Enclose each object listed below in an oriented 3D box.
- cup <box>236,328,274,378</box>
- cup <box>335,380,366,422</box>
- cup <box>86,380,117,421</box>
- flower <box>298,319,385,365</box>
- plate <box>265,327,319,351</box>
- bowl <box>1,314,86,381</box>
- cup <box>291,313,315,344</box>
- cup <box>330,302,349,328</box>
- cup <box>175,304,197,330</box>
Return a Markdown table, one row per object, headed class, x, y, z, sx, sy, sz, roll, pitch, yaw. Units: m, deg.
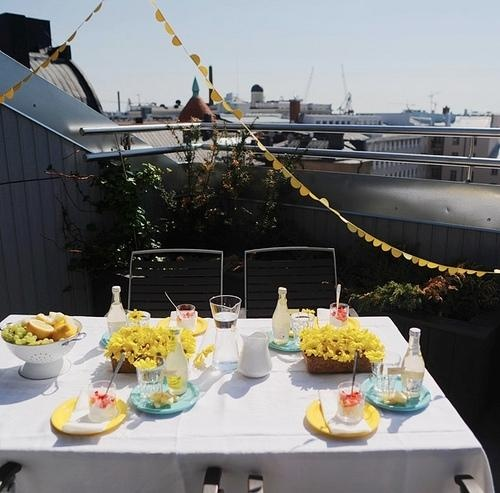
| class | x | y | z | sx | sy | sz | roll | pitch | yaw |
| --- | --- | --- | --- | --- | --- | --- | --- | --- | --- |
| cup | 0.017 | 0.333 | 1.417 | 0.122 | 0.130 | 0.136 | 2 | 7 | 12 |
| cup | 0.247 | 0.401 | 1.166 | 0.094 | 0.082 | 0.080 | 1 | 2 | 1 |
| cup | -0.374 | 0.394 | 1.133 | 0.090 | 0.084 | 0.087 | 2 | 16 | 0 |
| flower | 0.278 | 0.295 | 1.375 | 0.177 | 0.056 | 0.140 | 2 | 13 | -6 |
| plate | 0.121 | 0.309 | 1.542 | 0.130 | 0.024 | 0.105 | -5 | 22 | -4 |
| bowl | -0.609 | 0.275 | 1.364 | 0.288 | 0.128 | 0.202 | 6 | 13 | 9 |
| cup | 0.174 | 0.276 | 1.553 | 0.104 | 0.098 | 0.096 | 0 | 11 | 0 |
| cup | 0.314 | 0.240 | 1.589 | 0.080 | 0.077 | 0.078 | 1 | 4 | 0 |
| cup | -0.230 | 0.264 | 1.678 | 0.087 | 0.084 | 0.088 | 1 | 5 | 0 |
